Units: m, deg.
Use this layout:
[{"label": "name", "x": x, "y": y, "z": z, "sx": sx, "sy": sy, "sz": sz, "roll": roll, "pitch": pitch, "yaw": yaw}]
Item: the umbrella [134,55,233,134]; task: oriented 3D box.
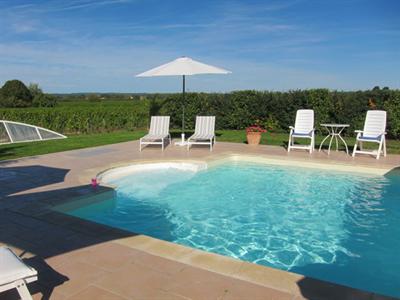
[{"label": "umbrella", "x": -1.125, "y": -2.491, "z": 11.567, "sx": 3.207, "sy": 3.490, "sz": 4.196, "roll": -4, "pitch": 13, "yaw": -19}]

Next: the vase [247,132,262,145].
[{"label": "vase", "x": 2.540, "y": -0.543, "z": 11.636, "sx": 0.686, "sy": 0.431, "sz": 0.620, "roll": 0, "pitch": -1, "yaw": -1}]

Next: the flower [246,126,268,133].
[{"label": "flower", "x": 3.123, "y": -1.113, "z": 13.472, "sx": 1.121, "sy": 0.380, "sz": 0.945, "roll": 2, "pitch": 7, "yaw": 30}]
